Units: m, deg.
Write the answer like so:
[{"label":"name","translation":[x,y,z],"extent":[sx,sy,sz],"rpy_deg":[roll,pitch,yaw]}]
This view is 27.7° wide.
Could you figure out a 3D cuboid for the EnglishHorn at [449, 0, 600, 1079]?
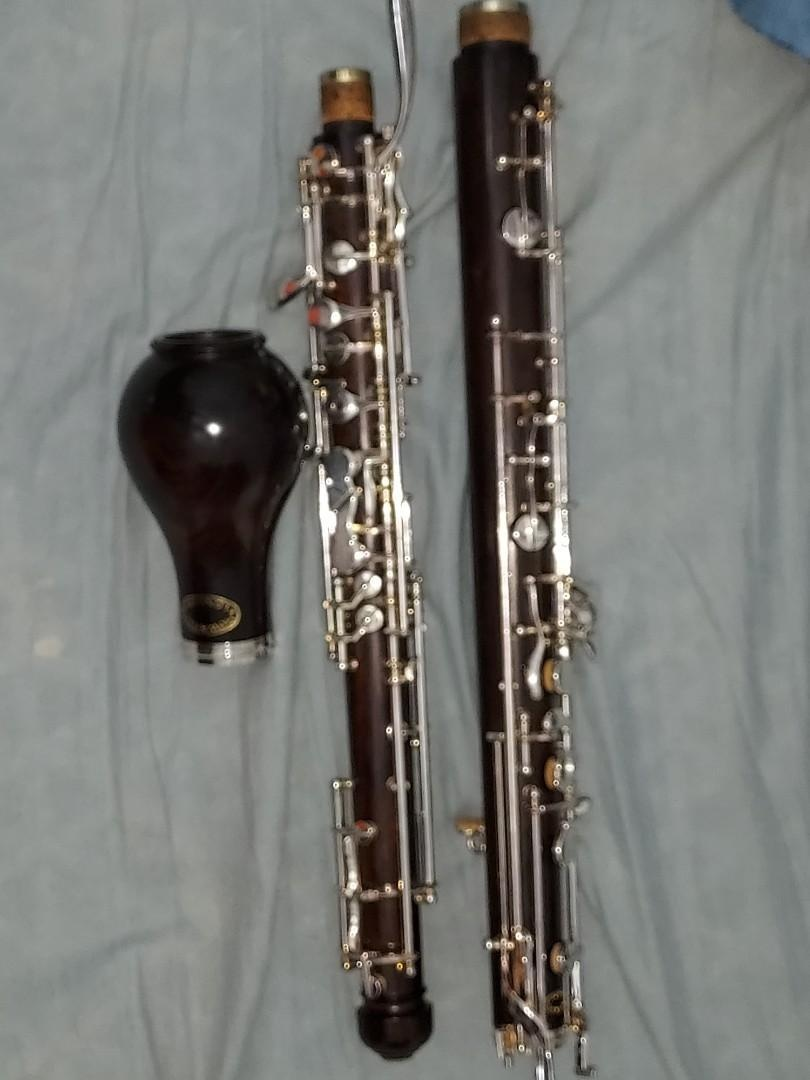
[{"label":"EnglishHorn","translation":[0.116,-0.006,1.735],"extent":[0.154,0.172,1.081],"rpy_deg":[-2,91,6]}]
